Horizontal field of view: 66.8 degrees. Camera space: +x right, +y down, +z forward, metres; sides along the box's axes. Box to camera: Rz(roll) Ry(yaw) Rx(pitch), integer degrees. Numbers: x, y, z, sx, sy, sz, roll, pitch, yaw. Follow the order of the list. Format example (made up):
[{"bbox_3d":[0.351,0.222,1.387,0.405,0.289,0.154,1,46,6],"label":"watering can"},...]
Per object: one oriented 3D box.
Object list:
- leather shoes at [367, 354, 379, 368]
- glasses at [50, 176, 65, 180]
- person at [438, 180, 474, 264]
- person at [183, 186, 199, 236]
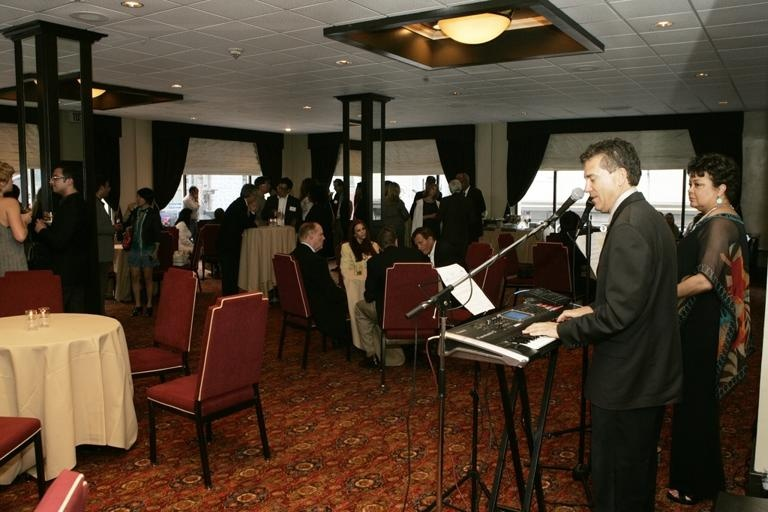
[{"bbox_3d":[-0.118,1.186,6.526,0.143,0.151,0.090,6,2,2],"label":"leather shoes"},{"bbox_3d":[-3.176,-0.760,5.697,0.127,0.053,0.031,4,13,20],"label":"glasses"},{"bbox_3d":[1.230,-0.390,9.912,0.552,1.757,0.548,4,23,10],"label":"person"},{"bbox_3d":[-4.264,-0.859,13.056,0.389,1.341,0.421,2,16,-3],"label":"person"}]
